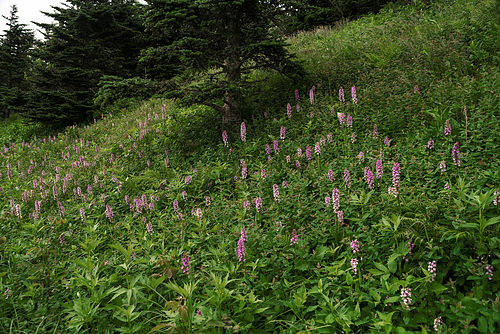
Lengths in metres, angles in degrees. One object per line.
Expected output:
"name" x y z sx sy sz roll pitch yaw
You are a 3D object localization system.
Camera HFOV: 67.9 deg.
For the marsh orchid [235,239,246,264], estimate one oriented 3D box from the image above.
"marsh orchid" -0.180 1.778 7.988 0.189 0.526 0.173 -12 9 -6
